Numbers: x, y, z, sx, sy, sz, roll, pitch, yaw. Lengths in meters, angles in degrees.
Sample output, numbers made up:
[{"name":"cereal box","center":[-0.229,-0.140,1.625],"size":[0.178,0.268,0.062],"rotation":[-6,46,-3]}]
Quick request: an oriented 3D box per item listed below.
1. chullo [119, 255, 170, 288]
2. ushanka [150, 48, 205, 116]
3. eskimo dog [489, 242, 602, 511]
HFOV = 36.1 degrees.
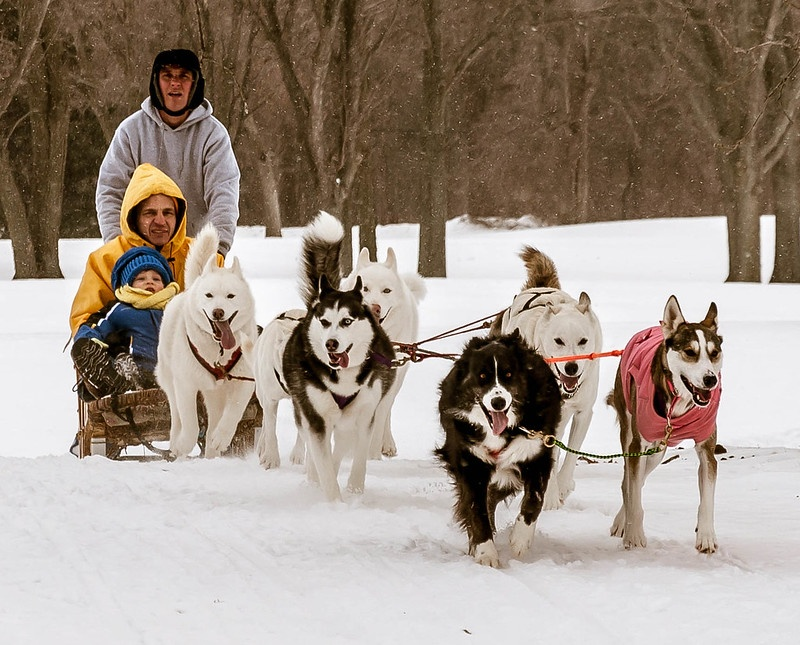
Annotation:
[{"name":"chullo","center":[-2.742,-0.588,12.917],"size":[0.350,0.409,0.224],"rotation":[0,26,-20]},{"name":"ushanka","center":[-2.680,-2.797,14.639],"size":[0.554,0.883,0.352],"rotation":[-13,12,-27]},{"name":"eskimo dog","center":[1.351,0.398,11.713],"size":[0.996,2.637,1.125],"rotation":[1,8,-1]}]
